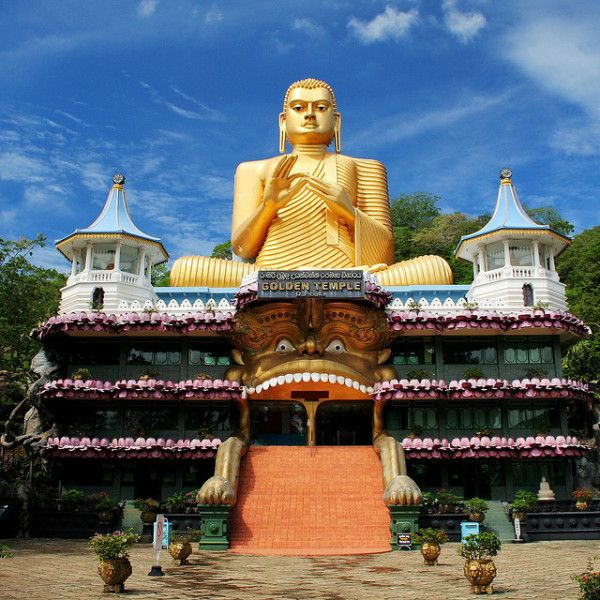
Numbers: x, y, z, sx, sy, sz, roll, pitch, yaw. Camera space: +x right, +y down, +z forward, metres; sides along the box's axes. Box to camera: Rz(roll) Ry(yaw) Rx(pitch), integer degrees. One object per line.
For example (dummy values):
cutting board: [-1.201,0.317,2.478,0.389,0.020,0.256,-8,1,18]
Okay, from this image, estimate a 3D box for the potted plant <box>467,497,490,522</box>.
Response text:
potted plant: [5.198,6.173,19.601,0.550,0.669,0.472,-3,-16,5]

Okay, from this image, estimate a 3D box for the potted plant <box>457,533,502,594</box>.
potted plant: [3.048,4.392,11.345,0.646,0.933,1.315,-4,-14,11]

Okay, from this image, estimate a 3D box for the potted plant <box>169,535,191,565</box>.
potted plant: [-2.595,5.401,14.448,0.690,0.568,0.524,7,-34,-9]

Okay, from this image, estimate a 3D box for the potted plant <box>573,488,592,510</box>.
potted plant: [8.941,6.261,21.100,0.641,0.451,0.503,1,-24,3]

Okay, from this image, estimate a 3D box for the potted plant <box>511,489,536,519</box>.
potted plant: [6.810,6.225,20.562,0.826,0.671,0.683,4,-6,-32]
